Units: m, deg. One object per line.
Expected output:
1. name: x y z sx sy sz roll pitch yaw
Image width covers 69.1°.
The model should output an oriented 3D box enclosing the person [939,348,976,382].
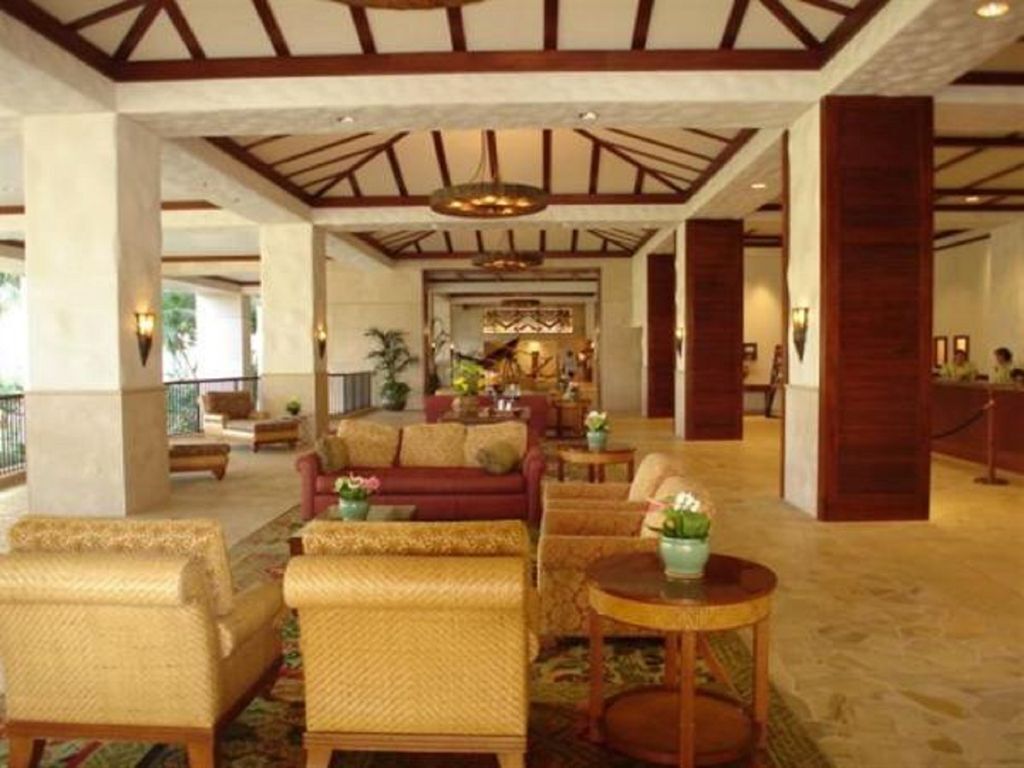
1. person: 7.473 -0.329 12.394 0.447 0.456 1.030 1 4 29

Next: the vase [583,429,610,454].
1. vase: 0.849 0.557 7.393 0.233 0.208 0.213 0 5 8

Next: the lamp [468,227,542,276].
1. lamp: -0.001 -2.586 15.241 1.476 0.868 1.358 4 10 20

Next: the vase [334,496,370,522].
1. vase: -1.194 0.942 5.637 0.260 0.149 0.242 -1 3 -29

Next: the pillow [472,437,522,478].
1. pillow: -0.159 0.711 7.392 0.341 0.312 0.431 -4 5 -42

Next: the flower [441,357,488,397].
1. flower: -0.673 -0.086 10.956 0.823 0.656 0.636 0 4 -5

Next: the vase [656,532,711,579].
1. vase: 0.879 0.872 3.783 0.257 0.150 0.230 0 -3 10

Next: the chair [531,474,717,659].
1. chair: 0.782 1.148 5.031 1.333 0.864 1.246 0 1 3

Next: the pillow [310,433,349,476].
1. pillow: -1.796 0.704 7.353 0.166 0.247 0.413 3 7 9

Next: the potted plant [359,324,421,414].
1. potted plant: -3.143 -0.431 19.754 0.911 2.206 1.036 -4 5 -40

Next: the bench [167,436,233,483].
1. bench: -4.209 1.018 9.951 0.702 0.488 0.604 -2 4 -22

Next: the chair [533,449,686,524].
1. chair: 0.705 0.740 5.464 0.735 0.630 0.516 1 0 4

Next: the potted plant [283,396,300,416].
1. potted plant: -3.716 0.372 12.569 0.350 0.287 0.331 1 -3 28

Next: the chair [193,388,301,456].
1. chair: -4.494 0.610 12.664 1.734 0.824 0.985 3 5 40
